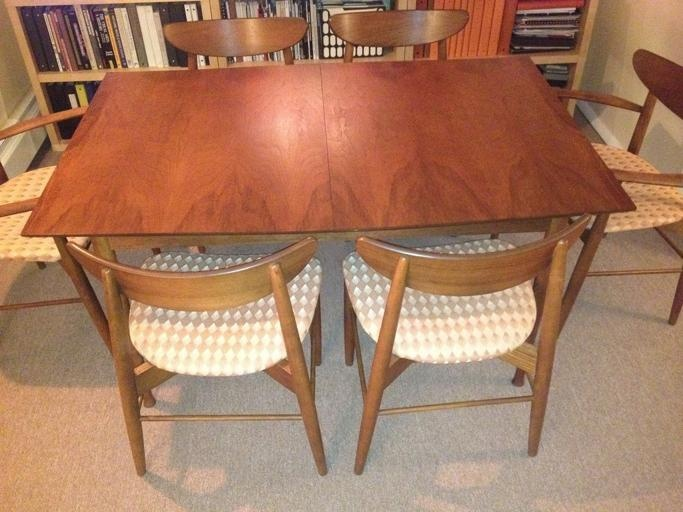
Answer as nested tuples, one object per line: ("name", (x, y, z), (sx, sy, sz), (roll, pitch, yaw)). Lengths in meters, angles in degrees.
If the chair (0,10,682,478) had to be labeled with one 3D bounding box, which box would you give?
("chair", (-0.021, -0.010, 1.977), (1.790, 1.092, 1.102), (-3, 34, -1))
